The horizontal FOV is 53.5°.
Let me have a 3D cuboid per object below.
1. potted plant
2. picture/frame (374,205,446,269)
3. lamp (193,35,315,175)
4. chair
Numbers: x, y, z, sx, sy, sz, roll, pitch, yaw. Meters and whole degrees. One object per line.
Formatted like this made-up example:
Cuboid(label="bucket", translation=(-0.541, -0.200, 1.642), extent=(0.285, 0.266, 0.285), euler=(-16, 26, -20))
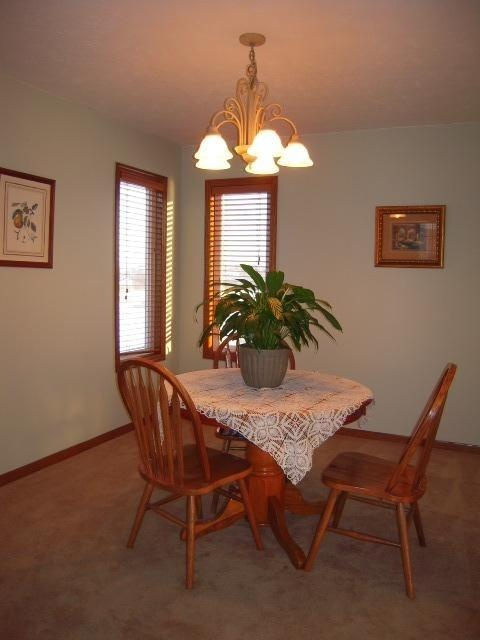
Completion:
Cuboid(label="potted plant", translation=(0.110, 0.035, 2.220), extent=(0.752, 0.648, 0.758), euler=(1, -5, -2))
Cuboid(label="picture/frame", translation=(1.246, -0.602, 3.416), extent=(0.453, 0.446, 0.040), euler=(3, 5, 23))
Cuboid(label="lamp", translation=(0.055, -0.846, 1.847), extent=(0.417, 0.493, 0.463), euler=(-1, 18, -5))
Cuboid(label="chair", translation=(0.135, 0.546, 1.834), extent=(1.182, 0.822, 0.641), euler=(1, 1, -1))
